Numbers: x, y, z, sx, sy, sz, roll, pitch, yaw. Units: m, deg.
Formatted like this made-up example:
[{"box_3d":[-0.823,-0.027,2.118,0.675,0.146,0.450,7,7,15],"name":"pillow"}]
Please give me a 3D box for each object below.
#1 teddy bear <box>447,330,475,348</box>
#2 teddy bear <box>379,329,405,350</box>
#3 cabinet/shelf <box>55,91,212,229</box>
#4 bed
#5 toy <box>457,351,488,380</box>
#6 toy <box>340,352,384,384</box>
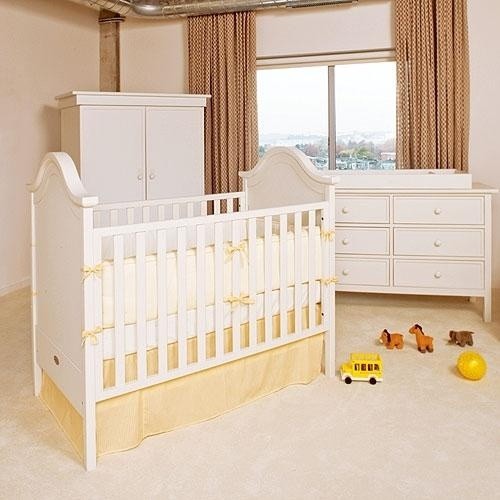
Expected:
[{"box_3d":[1.106,0.461,2.600,0.120,0.091,0.075,6,-10,-11],"name":"teddy bear"},{"box_3d":[0.743,0.463,2.594,0.110,0.103,0.084,2,-3,1],"name":"teddy bear"},{"box_3d":[-0.767,-0.615,3.237,0.852,1.048,0.359,-8,11,-40],"name":"cabinet/shelf"},{"box_3d":[-0.311,0.077,2.352,1.265,1.260,0.915,-5,8,-33],"name":"bed"},{"box_3d":[0.989,0.505,2.213,0.125,0.116,0.171,4,10,25],"name":"toy"},{"box_3d":[0.494,0.515,2.204,0.135,0.098,0.116,1,-1,5],"name":"toy"}]
